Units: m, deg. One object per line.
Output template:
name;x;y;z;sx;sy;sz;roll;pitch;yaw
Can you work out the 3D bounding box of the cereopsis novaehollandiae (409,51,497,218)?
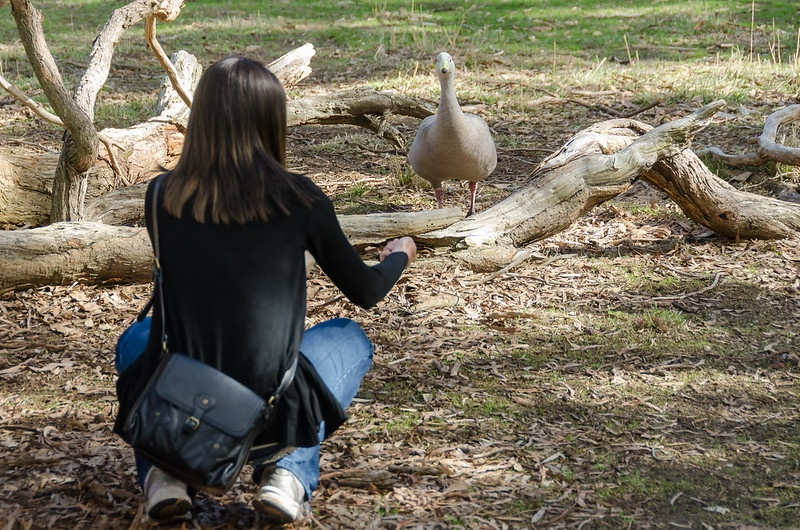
cereopsis novaehollandiae;0.813;-1.589;10.987;0.949;1.981;0.626;-1;23;-1
